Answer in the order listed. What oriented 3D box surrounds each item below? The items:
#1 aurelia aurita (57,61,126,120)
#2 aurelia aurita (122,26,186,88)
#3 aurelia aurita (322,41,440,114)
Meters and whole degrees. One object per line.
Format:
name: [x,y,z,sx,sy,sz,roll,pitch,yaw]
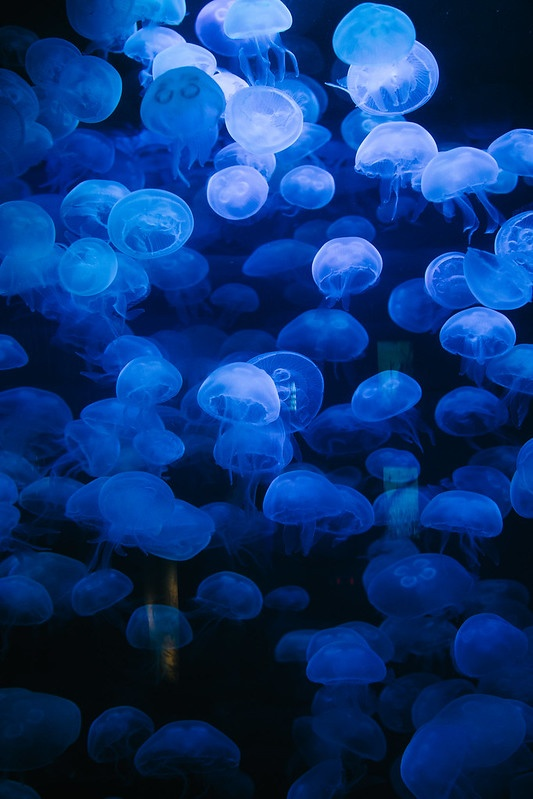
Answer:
aurelia aurita: [-0.906,-1.537,4.226,0.364,0.211,0.344,-2,8,-22]
aurelia aurita: [-0.583,-1.792,4.274,0.296,0.257,0.276,-16,32,3]
aurelia aurita: [0.638,-1.629,4.225,0.455,0.210,0.353,1,-1,-4]
